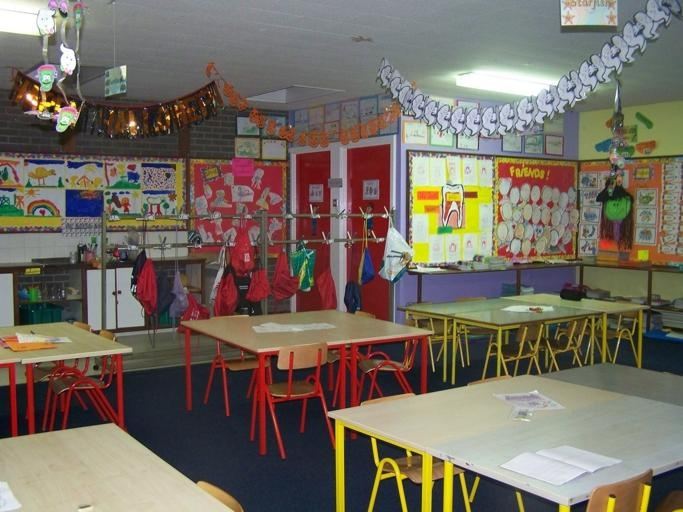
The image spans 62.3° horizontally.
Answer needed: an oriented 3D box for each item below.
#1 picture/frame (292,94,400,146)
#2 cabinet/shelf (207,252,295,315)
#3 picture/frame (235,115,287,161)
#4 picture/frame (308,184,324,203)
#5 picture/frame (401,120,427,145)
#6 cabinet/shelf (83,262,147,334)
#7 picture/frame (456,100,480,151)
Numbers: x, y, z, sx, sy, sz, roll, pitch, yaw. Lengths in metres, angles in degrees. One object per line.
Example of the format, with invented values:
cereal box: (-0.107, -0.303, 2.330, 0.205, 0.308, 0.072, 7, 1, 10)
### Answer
picture/frame: (-0.010, -2.140, 8.838, 0.458, 0.734, 2.626, -4, 3, -42)
cabinet/shelf: (-1.081, 0.347, 7.203, 0.949, 0.974, 0.480, -1, 14, -15)
picture/frame: (-1.379, -1.943, 9.304, 0.784, 0.694, 0.134, -5, 8, -36)
picture/frame: (-0.432, -1.076, 9.597, 0.031, 0.324, 0.303, -4, 8, -36)
picture/frame: (1.098, -1.849, 8.407, 0.521, 0.389, 0.090, -3, 4, -38)
cabinet/shelf: (-3.167, 0.539, 7.795, 0.999, 1.007, 0.382, 0, 0, -33)
picture/frame: (1.966, -2.053, 8.822, 0.321, 0.776, 0.578, 0, 3, 14)
